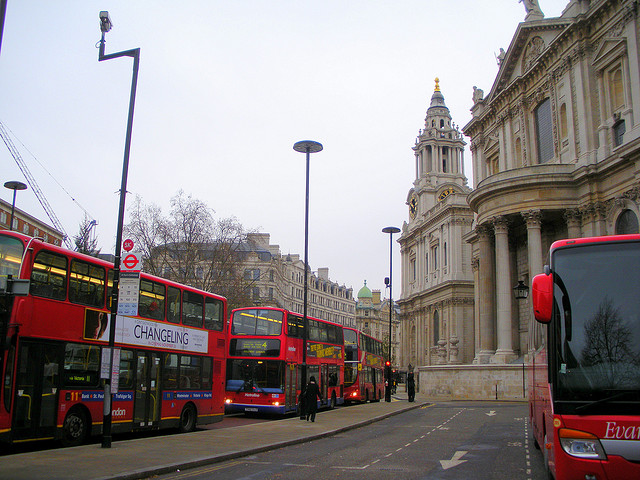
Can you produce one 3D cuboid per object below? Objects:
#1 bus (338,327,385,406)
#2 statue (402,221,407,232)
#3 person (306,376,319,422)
[{"bbox_3d":[2.583,8.931,46.057,2.464,4.769,10.750,-2,-13,16],"label":"bus"},{"bbox_3d":[11.082,-1.512,86.012,0.340,1.338,1.161,5,-20,-18],"label":"statue"},{"bbox_3d":[-0.357,6.901,28.030,0.444,1.554,1.237,0,-19,-2],"label":"person"}]
